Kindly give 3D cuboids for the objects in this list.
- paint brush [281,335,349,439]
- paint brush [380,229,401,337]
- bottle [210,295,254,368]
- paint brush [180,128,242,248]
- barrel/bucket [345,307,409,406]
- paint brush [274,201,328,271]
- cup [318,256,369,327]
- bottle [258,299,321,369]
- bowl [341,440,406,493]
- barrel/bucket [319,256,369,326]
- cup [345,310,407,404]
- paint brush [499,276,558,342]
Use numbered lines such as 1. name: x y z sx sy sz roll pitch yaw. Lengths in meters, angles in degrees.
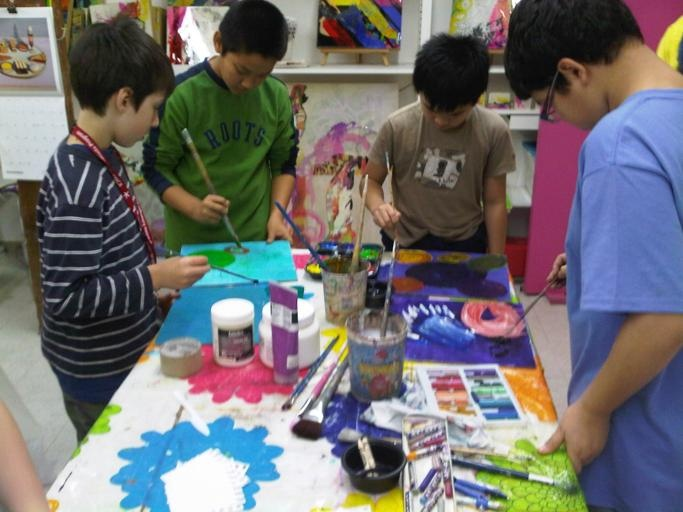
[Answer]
1. paint brush: -0.046 0.309 1.315 0.051 0.025 0.295 2 32 17
2. paint brush: 0.155 0.090 1.706 0.030 0.322 0.026 17 23 20
3. bottle: -0.267 0.192 1.467 0.128 0.178 0.152 2 22 2
4. paint brush: -0.520 -0.284 2.136 0.049 0.671 0.050 -2 49 20
5. barrel/bucket: 0.082 0.247 1.404 0.157 0.229 0.203 1 26 2
6. paint brush: -0.185 -0.108 2.535 0.049 0.042 0.520 -17 50 -14
7. cup: 0.009 0.107 1.681 0.139 0.203 0.185 5 19 19
8. bottle: -0.123 0.211 1.432 0.151 0.164 0.168 3 24 5
9. bowl: 0.070 0.445 1.141 0.096 0.043 0.108 4 36 9
10. barrel/bucket: 0.008 0.106 1.682 0.141 0.206 0.184 5 17 19
11. cup: 0.085 0.246 1.404 0.156 0.226 0.202 1 26 3
12. paint brush: 0.895 0.253 2.518 0.051 0.057 0.464 24 81 50
